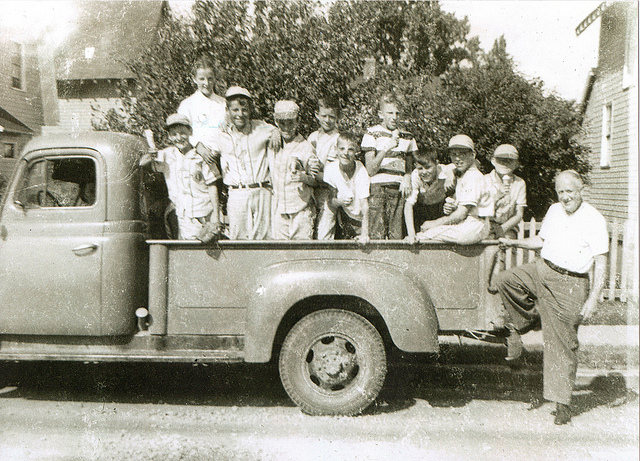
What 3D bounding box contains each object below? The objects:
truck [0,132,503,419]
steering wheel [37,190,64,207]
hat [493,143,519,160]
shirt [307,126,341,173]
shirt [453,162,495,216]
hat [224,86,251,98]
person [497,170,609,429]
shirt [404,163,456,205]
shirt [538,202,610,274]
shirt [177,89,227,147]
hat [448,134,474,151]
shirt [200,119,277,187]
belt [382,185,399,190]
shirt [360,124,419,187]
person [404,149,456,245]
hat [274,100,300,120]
[{"bbox_3d":[-0.659,0.428,6.837,4.263,2.229,2.284,1,-1,0],"label":"truck"},{"bbox_3d":[-2.448,-0.297,6.166,0.229,0.140,0.055,1,5,5],"label":"steering wheel"},{"bbox_3d":[1.847,-0.782,6.754,0.207,0.146,0.202,2,5,13],"label":"hat"},{"bbox_3d":[0.048,-0.766,6.543,0.434,0.454,0.257,-1,-5,18],"label":"shirt"},{"bbox_3d":[1.449,-0.378,6.376,0.287,0.527,0.507,-7,13,6],"label":"shirt"},{"bbox_3d":[-0.766,-1.319,6.450,0.224,0.112,0.222,0,5,-8],"label":"hat"},{"bbox_3d":[2.043,0.496,5.981,0.896,2.036,0.468,2,6,10],"label":"person"},{"bbox_3d":[1.063,-0.340,6.540,0.513,0.364,0.370,-15,15,18],"label":"shirt"},{"bbox_3d":[2.231,0.033,6.120,0.332,0.561,0.621,-3,14,-44],"label":"shirt"},{"bbox_3d":[-1.140,-1.078,6.639,0.617,0.580,0.326,1,-5,-4],"label":"shirt"},{"bbox_3d":[1.333,-0.833,6.421,0.228,0.151,0.211,2,5,7],"label":"hat"},{"bbox_3d":[-0.760,-0.719,6.484,0.581,0.464,0.216,-4,-1,-3],"label":"shirt"},{"bbox_3d":[0.694,-0.417,6.520,0.141,0.042,0.014,-1,6,-18],"label":"belt"},{"bbox_3d":[0.693,-0.705,6.657,0.582,0.716,0.355,-1,14,-13],"label":"shirt"},{"bbox_3d":[1.031,-0.298,6.351,0.637,0.925,0.588,-7,12,9],"label":"person"},{"bbox_3d":[-0.303,-1.138,6.350,0.156,0.164,0.195,-28,38,-34],"label":"hat"}]
